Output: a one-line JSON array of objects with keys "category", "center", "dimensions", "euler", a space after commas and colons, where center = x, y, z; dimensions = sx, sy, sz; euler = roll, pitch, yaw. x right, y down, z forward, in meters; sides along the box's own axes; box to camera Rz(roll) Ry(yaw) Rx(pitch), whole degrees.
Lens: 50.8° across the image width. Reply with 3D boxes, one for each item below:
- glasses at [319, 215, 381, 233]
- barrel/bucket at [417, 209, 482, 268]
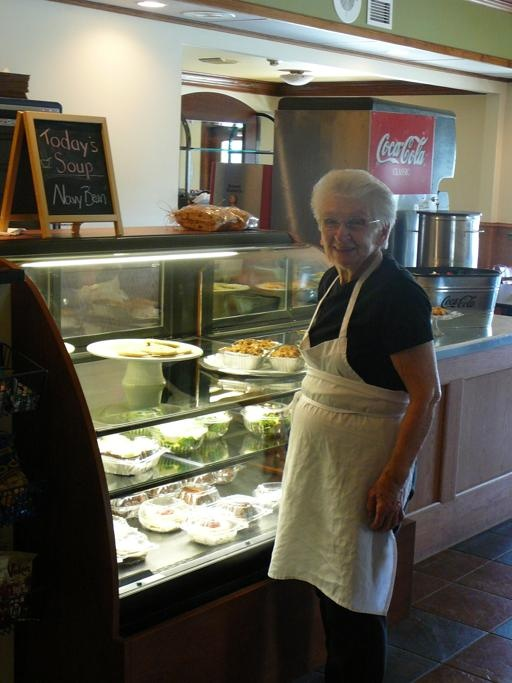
[{"category": "glasses", "center": [0.196, -0.250, 1.147], "dimensions": [0.130, 0.034, 0.066], "euler": [2, 4, 16]}, {"category": "barrel/bucket", "center": [1.468, -0.765, 4.194], "dimensions": [0.477, 0.462, 0.485], "euler": [4, -2, 0]}]
